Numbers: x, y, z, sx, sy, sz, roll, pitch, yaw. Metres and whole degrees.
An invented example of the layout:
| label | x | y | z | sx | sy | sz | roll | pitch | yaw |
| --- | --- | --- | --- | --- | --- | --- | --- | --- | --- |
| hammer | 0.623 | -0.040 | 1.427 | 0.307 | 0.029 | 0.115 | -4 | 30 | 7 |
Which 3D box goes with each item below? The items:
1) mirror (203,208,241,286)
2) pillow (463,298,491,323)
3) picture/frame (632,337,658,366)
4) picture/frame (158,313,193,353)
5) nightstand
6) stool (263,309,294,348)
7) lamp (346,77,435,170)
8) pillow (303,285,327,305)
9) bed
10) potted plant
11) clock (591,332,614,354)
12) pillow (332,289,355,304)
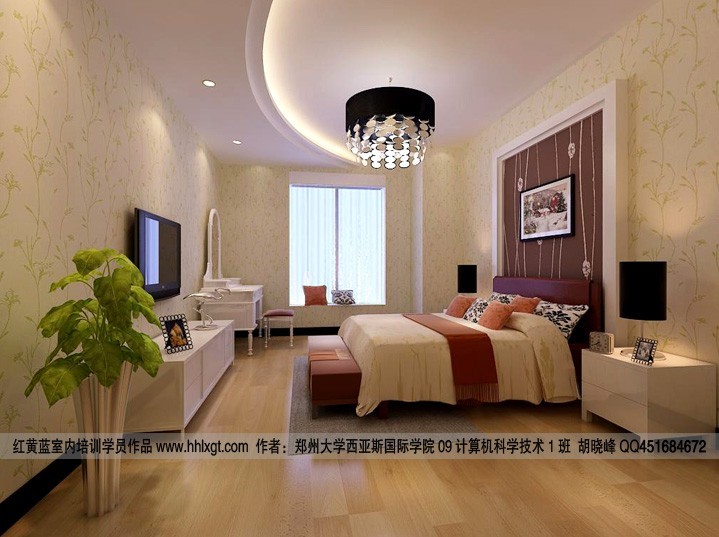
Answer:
| label | x | y | z | sx | sy | sz | roll | pitch | yaw |
| --- | --- | --- | --- | --- | --- | --- | --- | --- | --- |
| mirror | -2.050 | -0.327 | 7.068 | 0.414 | 1.357 | 1.081 | 0 | 1 | -4 |
| pillow | 1.270 | 0.447 | 5.163 | 0.068 | 0.237 | 0.236 | 26 | 1 | -8 |
| picture/frame | 2.220 | 0.647 | 3.721 | 0.023 | 0.221 | 0.156 | 24 | -17 | -17 |
| picture/frame | -1.586 | 0.560 | 4.112 | 0.023 | 0.346 | 0.295 | -19 | -12 | 23 |
| nightstand | 2.283 | 0.961 | 3.831 | 0.534 | 0.633 | 0.792 | 2 | -4 | -15 |
| stool | -1.154 | 0.857 | 7.005 | 0.483 | 0.483 | 0.513 | 0 | -1 | 8 |
| lamp | 0.309 | -1.384 | 4.789 | 0.759 | 0.549 | 0.823 | 0 | 2 | 11 |
| pillow | -0.701 | 0.425 | 7.634 | 0.290 | 0.338 | 0.156 | -1 | -12 | -3 |
| bed | 0.886 | 0.820 | 4.511 | 1.432 | 0.829 | 1.530 | -1 | 0 | -10 |
| potted plant | -1.709 | 0.669 | 3.135 | 0.728 | 1.645 | 0.882 | -8 | 15 | -31 |
| clock | 2.018 | 0.620 | 3.989 | 0.047 | 0.153 | 0.148 | 3 | -6 | -18 |
| pillow | -0.262 | 0.455 | 7.736 | 0.225 | 0.088 | 0.266 | 2 | 32 | -1 |
